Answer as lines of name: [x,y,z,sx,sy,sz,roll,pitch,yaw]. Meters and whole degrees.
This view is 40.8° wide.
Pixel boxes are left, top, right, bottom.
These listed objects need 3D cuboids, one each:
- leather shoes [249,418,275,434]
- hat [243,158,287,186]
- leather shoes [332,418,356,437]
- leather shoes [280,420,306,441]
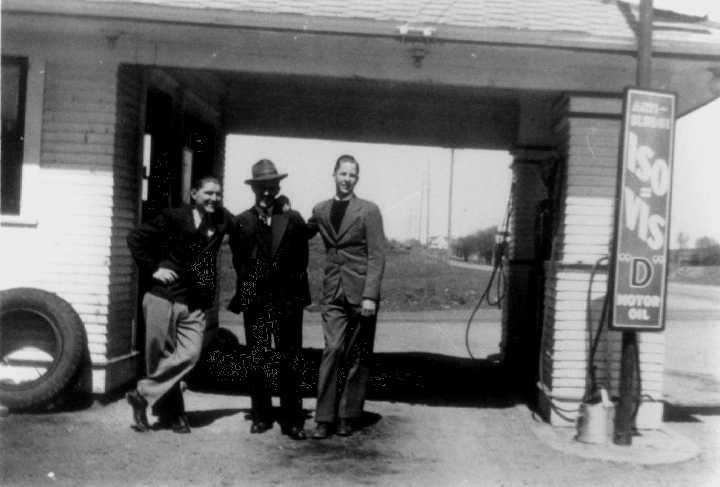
leather shoes: [-0.934,1.738,9.206,0.119,0.175,0.068,21,1,-14]
hat: [-0.862,-0.650,8.894,0.358,0.283,0.470,1,13,-7]
leather shoes: [-0.135,1.766,9.369,0.087,0.202,0.273,2,2,13]
leather shoes: [-0.627,1.769,9.174,0.208,0.160,0.080,0,13,29]
